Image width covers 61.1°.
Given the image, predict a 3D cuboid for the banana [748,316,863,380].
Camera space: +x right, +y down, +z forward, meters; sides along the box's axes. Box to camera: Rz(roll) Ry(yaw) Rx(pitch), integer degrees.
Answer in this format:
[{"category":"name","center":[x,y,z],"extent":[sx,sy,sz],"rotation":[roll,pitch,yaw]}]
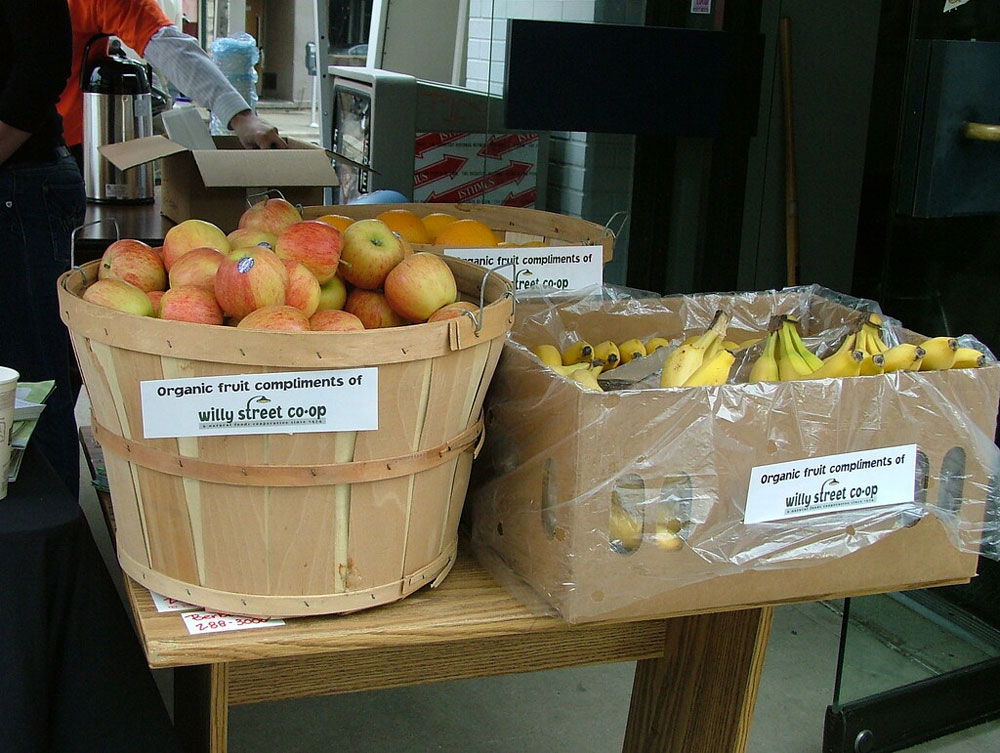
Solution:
[{"category":"banana","center":[0.495,-0.040,1.307],"extent":[0.125,0.083,0.046],"rotation":[8,-12,3]}]

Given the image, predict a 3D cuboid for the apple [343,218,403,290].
[{"category":"apple","center":[-0.180,-0.165,1.209],"extent":[0.085,0.091,0.085],"rotation":[-3,24,-41]}]

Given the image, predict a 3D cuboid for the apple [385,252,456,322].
[{"category":"apple","center":[-0.105,-0.114,1.140],"extent":[0.093,0.091,0.074],"rotation":[12,21,30]}]

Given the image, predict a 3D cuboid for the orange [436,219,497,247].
[{"category":"orange","center":[-0.068,-0.277,1.659],"extent":[0.072,0.078,0.076],"rotation":[-17,12,-39]}]

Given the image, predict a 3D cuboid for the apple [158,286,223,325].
[{"category":"apple","center":[-0.385,-0.084,1.055],"extent":[0.073,0.045,0.064],"rotation":[-12,22,-34]}]

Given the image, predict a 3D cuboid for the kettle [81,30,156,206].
[{"category":"kettle","center":[-1.391,-0.952,3.086],"extent":[0.232,0.619,0.242],"rotation":[11,12,32]}]

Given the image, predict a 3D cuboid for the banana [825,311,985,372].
[{"category":"banana","center":[0.597,-0.032,1.243],"extent":[0.158,0.074,0.092],"rotation":[-24,14,-40]}]

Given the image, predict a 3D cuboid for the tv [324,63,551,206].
[{"category":"tv","center":[-0.460,-0.990,3.811],"extent":[0.439,0.767,0.877],"rotation":[-1,22,-26]}]

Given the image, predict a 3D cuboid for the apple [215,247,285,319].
[{"category":"apple","center":[-0.308,-0.114,1.049],"extent":[0.084,0.081,0.057],"rotation":[10,20,27]}]

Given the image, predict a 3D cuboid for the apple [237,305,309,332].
[{"category":"apple","center":[-0.263,-0.065,0.989],"extent":[0.053,0.034,0.043],"rotation":[-7,11,-18]}]

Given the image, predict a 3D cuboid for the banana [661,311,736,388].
[{"category":"banana","center":[0.309,-0.039,1.324],"extent":[0.061,0.042,0.121],"rotation":[24,51,19]}]

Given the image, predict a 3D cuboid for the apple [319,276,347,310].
[{"category":"apple","center":[-0.228,-0.110,1.159],"extent":[0.036,0.038,0.041],"rotation":[3,60,-13]}]

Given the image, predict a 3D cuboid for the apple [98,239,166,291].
[{"category":"apple","center":[-0.515,-0.159,1.208],"extent":[0.075,0.080,0.079],"rotation":[33,23,31]}]

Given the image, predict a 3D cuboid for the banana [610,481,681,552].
[{"category":"banana","center":[0.177,0.174,1.101],"extent":[0.085,0.094,0.024],"rotation":[5,-2,-13]}]

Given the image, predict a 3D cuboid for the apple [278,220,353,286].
[{"category":"apple","center":[-0.250,-0.164,1.168],"extent":[0.089,0.082,0.081],"rotation":[12,41,8]}]

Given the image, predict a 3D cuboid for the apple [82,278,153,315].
[{"category":"apple","center":[-0.479,-0.094,1.062],"extent":[0.081,0.042,0.073],"rotation":[-7,20,-23]}]
